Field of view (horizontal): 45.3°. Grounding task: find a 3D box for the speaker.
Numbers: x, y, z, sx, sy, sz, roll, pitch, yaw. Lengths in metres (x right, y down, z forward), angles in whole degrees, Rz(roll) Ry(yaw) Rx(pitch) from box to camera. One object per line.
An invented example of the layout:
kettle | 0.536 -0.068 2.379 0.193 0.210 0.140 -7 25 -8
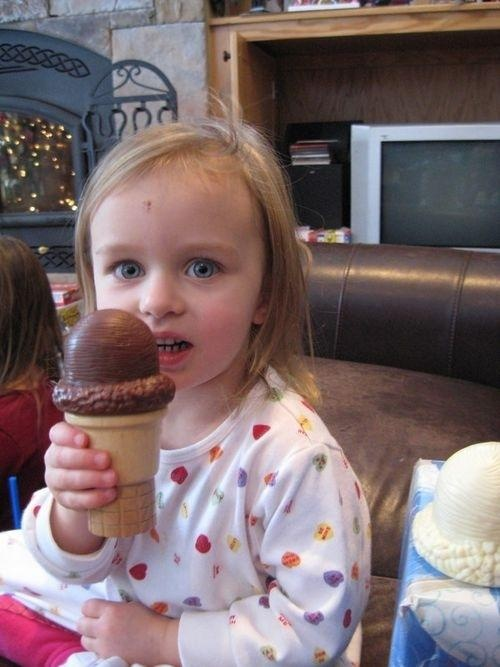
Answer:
speaker | 0.309 -0.575 2.638 0.357 0.353 0.219 4 17 15
